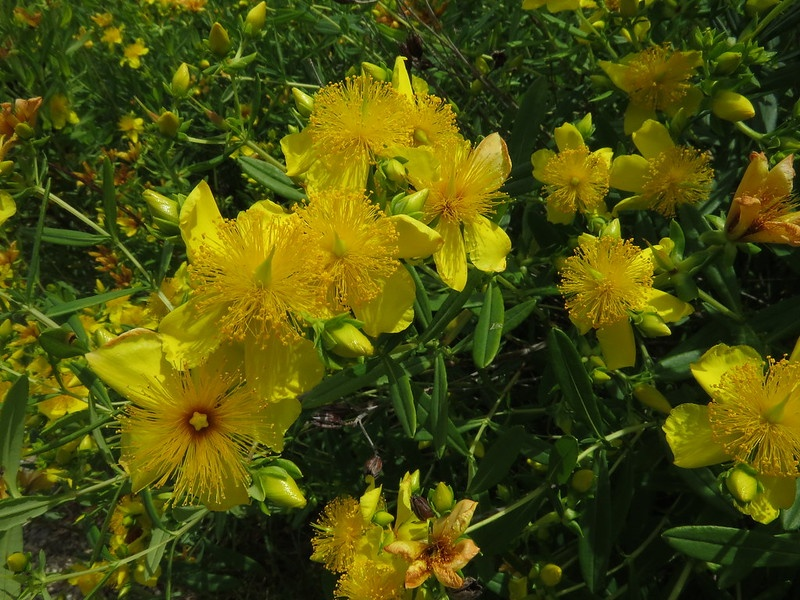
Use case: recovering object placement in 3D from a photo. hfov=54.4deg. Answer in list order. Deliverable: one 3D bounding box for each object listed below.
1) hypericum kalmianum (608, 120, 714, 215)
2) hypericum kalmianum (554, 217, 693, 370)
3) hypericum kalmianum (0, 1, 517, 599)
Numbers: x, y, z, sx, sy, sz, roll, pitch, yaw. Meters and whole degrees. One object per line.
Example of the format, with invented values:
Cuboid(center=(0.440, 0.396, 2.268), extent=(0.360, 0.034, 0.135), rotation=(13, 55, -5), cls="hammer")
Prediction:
Cuboid(center=(0.815, -0.392, 2.362), extent=(0.360, 0.284, 0.190), rotation=(27, 101, 45), cls="hypericum kalmianum")
Cuboid(center=(0.621, -0.018, 2.231), extent=(0.282, 0.334, 0.218), rotation=(-26, 24, 13), cls="hypericum kalmianum")
Cuboid(center=(-0.253, 0.019, 2.786), extent=(1.539, 1.635, 0.828), rotation=(-1, -1, 4), cls="hypericum kalmianum")
